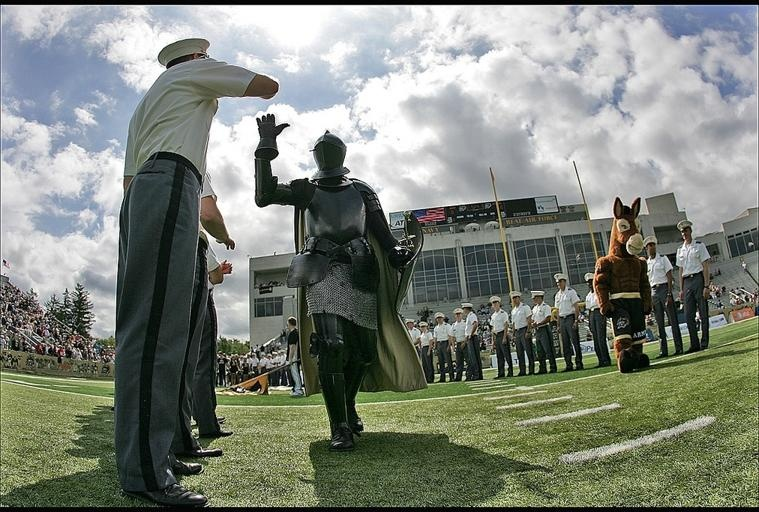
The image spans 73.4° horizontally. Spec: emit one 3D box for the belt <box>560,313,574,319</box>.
[{"bbox_3d":[4.849,1.593,13.294,0.061,0.105,0.471,2,-6,-32],"label":"belt"}]

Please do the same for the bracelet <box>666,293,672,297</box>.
[{"bbox_3d":[5.763,0.795,10.170,0.064,0.088,0.129,-4,-5,29],"label":"bracelet"}]

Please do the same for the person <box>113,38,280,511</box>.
[{"bbox_3d":[-1.496,0.035,3.805,0.813,3.349,0.758,2,-5,-27],"label":"person"}]

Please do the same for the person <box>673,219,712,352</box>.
[{"bbox_3d":[5.754,0.511,9.332,0.506,2.418,1.366,-4,-5,31],"label":"person"}]

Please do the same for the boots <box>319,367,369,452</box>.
[{"bbox_3d":[-0.213,1.499,4.905,0.276,0.583,0.823,-14,-34,-5],"label":"boots"}]
